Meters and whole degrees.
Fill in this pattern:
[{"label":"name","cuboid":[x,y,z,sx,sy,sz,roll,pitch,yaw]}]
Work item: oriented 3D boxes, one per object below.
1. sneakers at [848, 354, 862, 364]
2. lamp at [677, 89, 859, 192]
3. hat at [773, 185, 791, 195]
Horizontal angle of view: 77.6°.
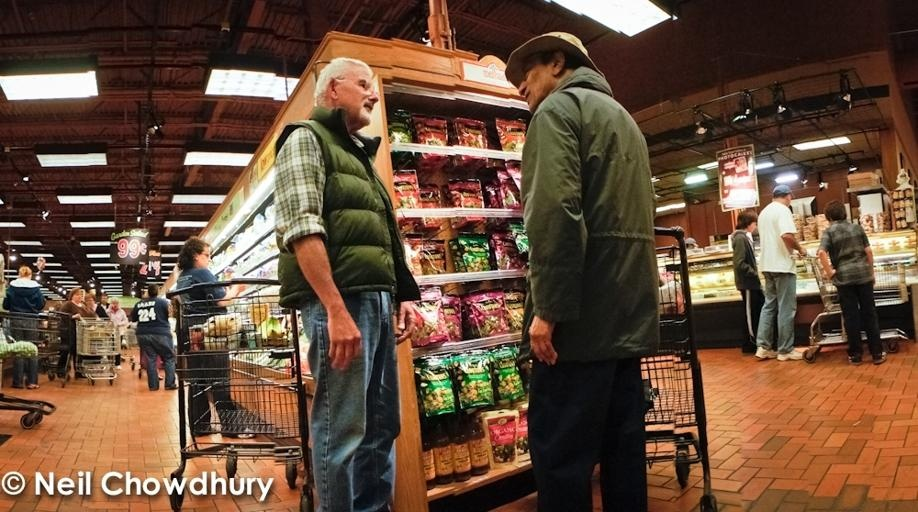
[{"label":"sneakers","cuboid":[6.256,1.641,9.025,0.170,0.156,0.200,-14,-11,34]},{"label":"lamp","cuboid":[8.651,-3.166,15.807,2.279,0.772,3.415,7,-15,-33]},{"label":"hat","cuboid":[5.495,-1.125,9.743,0.402,0.203,0.296,2,6,29]}]
